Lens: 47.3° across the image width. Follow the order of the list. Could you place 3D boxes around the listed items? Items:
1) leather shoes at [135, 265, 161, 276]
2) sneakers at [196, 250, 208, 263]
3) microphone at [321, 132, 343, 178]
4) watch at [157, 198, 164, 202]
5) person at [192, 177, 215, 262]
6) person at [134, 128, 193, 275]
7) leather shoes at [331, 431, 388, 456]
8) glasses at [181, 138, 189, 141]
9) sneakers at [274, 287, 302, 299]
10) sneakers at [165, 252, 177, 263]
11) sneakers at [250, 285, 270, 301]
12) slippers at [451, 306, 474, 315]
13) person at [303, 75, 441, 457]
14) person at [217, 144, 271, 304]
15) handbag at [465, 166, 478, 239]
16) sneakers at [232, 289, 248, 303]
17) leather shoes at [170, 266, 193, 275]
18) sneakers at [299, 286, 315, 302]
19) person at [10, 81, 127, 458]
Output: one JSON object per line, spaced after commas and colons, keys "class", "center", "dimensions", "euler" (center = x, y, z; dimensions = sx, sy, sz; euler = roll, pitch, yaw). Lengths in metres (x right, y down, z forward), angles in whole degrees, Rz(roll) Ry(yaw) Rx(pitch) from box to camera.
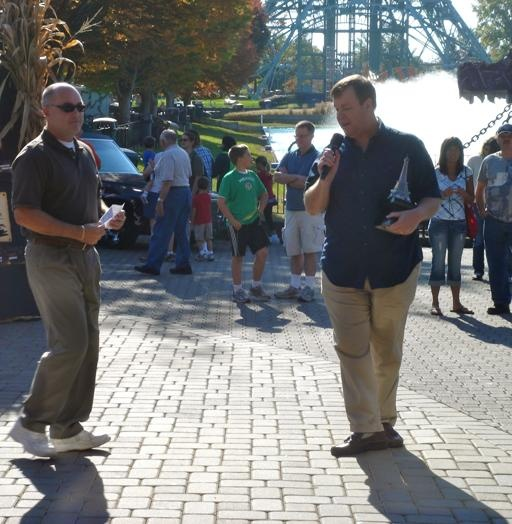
{"class": "leather shoes", "center": [-1.650, 0.108, 9.184], "dimensions": [0.404, 0.192, 0.156], "euler": [13, 5, 3]}
{"class": "sneakers", "center": [-1.019, -0.123, 10.735], "dimensions": [0.272, 0.204, 0.119], "euler": [4, 8, 39]}
{"class": "microphone", "center": [0.416, -0.598, 3.187], "dimensions": [0.079, 0.327, 0.092], "euler": [14, -29, 6]}
{"class": "watch", "center": [-1.450, -0.971, 8.998], "dimensions": [0.075, 0.058, 0.076], "euler": [2, 1, 40]}
{"class": "person", "center": [-0.964, -0.812, 10.727], "dimensions": [0.396, 1.507, 0.400], "euler": [0, 5, -9]}
{"class": "person", "center": [-1.340, -0.968, 9.300], "dimensions": [0.820, 2.258, 0.695], "euler": [0, 1, -41]}
{"class": "leather shoes", "center": [0.563, 0.978, 3.222], "dimensions": [0.321, 0.144, 0.113], "euler": [-3, -3, -18]}
{"class": "glasses", "center": [-1.237, -2.174, 10.320], "dimensions": [0.077, 0.051, 0.103], "euler": [-1, 1, 6]}
{"class": "sneakers", "center": [0.427, 0.404, 7.855], "dimensions": [0.363, 0.174, 0.142], "euler": [0, 5, -5]}
{"class": "sneakers", "center": [-1.515, -0.108, 10.532], "dimensions": [0.169, 0.196, 0.186], "euler": [0, -8, 1]}
{"class": "sneakers", "center": [0.045, 0.396, 7.803], "dimensions": [0.125, 0.157, 0.316], "euler": [-5, 8, -34]}
{"class": "slippers", "center": [2.477, 0.566, 7.119], "dimensions": [0.260, 0.171, 0.099], "euler": [0, 1, 11]}
{"class": "person", "center": [0.599, 0.016, 3.147], "dimensions": [0.711, 2.034, 0.460], "euler": [2, 5, 13]}
{"class": "person", "center": [-0.169, -0.576, 8.011], "dimensions": [0.662, 2.095, 1.081], "euler": [1, 5, 0]}
{"class": "handbag", "center": [2.626, -0.713, 7.179], "dimensions": [0.130, 0.850, 0.492], "euler": [3, 5, 20]}
{"class": "sneakers", "center": [-0.186, 0.433, 7.626], "dimensions": [0.210, 0.174, 0.245], "euler": [1, 5, -3]}
{"class": "leather shoes", "center": [-1.175, 0.112, 9.412], "dimensions": [0.352, 0.172, 0.135], "euler": [6, 9, 13]}
{"class": "sneakers", "center": [0.651, 0.410, 7.641], "dimensions": [0.112, 0.128, 0.281], "euler": [0, 4, 11]}
{"class": "person", "center": [-0.978, 0.039, 3.022], "dimensions": [0.434, 1.954, 0.565], "euler": [4, 5, 31]}
